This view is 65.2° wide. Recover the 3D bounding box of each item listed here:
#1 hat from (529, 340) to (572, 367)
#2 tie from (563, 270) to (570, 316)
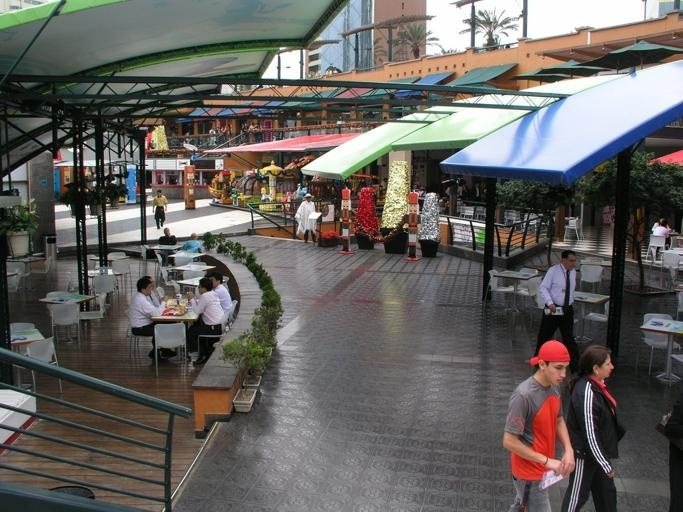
[{"bbox_3d":[1.502,0.712,3.948,0.312,0.159,0.222,4,7,43],"label":"hat"},{"bbox_3d":[3.548,0.551,8.346,0.087,0.643,0.157,4,13,21],"label":"tie"}]
